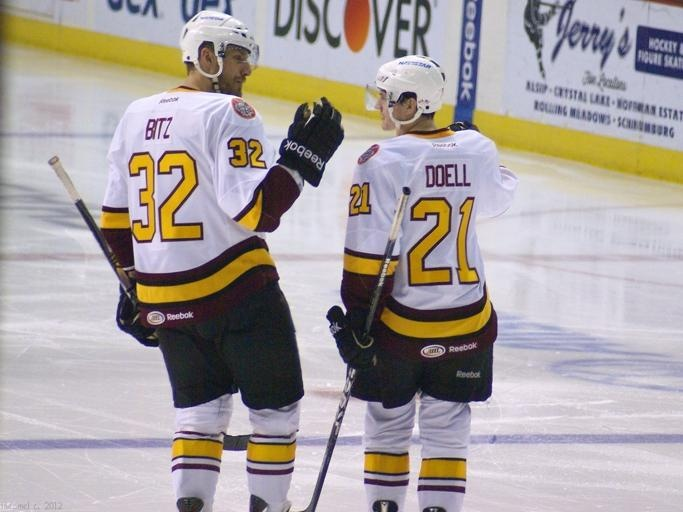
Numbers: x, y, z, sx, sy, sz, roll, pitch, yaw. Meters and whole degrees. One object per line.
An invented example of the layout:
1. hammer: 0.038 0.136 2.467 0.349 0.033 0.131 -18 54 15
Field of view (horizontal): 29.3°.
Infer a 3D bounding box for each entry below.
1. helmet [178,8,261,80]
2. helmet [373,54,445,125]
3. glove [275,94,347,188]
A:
1. helmet: -0.614 -1.101 6.617 0.421 0.326 0.303 -2 8 -5
2. helmet: 0.350 -0.843 6.699 0.406 0.370 0.305 3 20 -7
3. glove: -0.133 -0.583 6.444 0.305 0.446 0.159 30 -15 0
